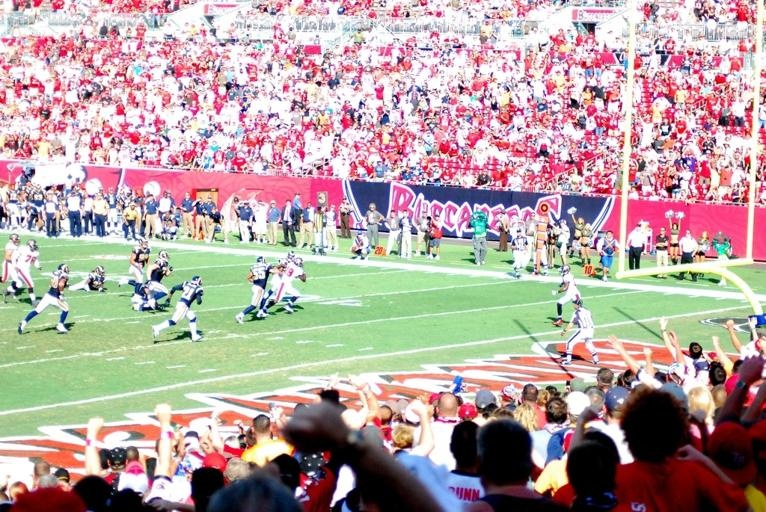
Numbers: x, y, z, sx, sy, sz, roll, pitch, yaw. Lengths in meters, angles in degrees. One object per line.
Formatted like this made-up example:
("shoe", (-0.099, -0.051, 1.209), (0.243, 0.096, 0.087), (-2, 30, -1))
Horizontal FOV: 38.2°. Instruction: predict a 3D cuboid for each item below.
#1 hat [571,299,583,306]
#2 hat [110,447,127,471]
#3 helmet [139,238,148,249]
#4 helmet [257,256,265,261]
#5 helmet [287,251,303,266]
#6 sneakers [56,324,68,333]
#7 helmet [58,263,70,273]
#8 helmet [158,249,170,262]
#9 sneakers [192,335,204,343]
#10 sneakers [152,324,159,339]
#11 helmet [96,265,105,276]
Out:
("hat", (4.760, 1.150, 27.055), (0.179, 0.194, 0.142), (6, -4, 5))
("hat", (-4.276, 3.264, 17.900), (0.269, 0.337, 0.338), (0, 18, -9))
("helmet", (-7.077, -0.368, 32.681), (0.316, 0.298, 0.245), (-16, 24, -35))
("helmet", (-3.363, 0.091, 29.971), (0.172, 0.145, 0.172), (4, -4, -37))
("helmet", (-2.538, 0.141, 31.046), (0.198, 0.478, 0.292), (10, 15, -14))
("sneakers", (-8.282, 1.846, 28.329), (0.242, 0.268, 0.510), (-2, 0, -17))
("helmet", (-8.834, 0.332, 30.318), (0.194, 0.235, 0.244), (15, 39, 39))
("helmet", (-6.555, -0.008, 32.673), (0.310, 0.302, 0.254), (-36, 27, -25))
("sneakers", (-4.706, 2.064, 27.839), (0.367, 0.152, 0.277), (-2, 0, -35))
("sneakers", (-5.737, 1.928, 27.575), (0.254, 0.413, 0.203), (2, 5, -6))
("helmet", (-8.184, 0.425, 31.690), (0.228, 0.268, 0.277), (9, -35, -42))
